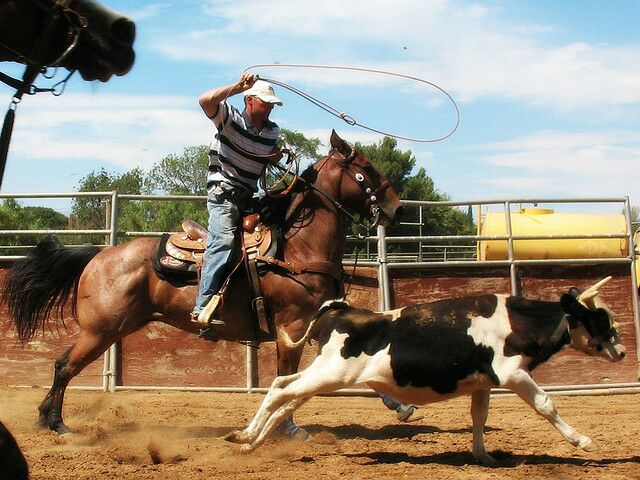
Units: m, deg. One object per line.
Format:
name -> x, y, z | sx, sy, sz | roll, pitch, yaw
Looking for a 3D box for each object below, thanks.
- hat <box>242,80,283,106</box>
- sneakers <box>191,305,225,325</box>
hat -> -0.546, -1.419, 6.522 | 0.340, 0.252, 0.151 | 0, 0, 24
sneakers -> -1.052, 0.720, 6.518 | 0.381, 0.117, 0.151 | 1, -33, -7
